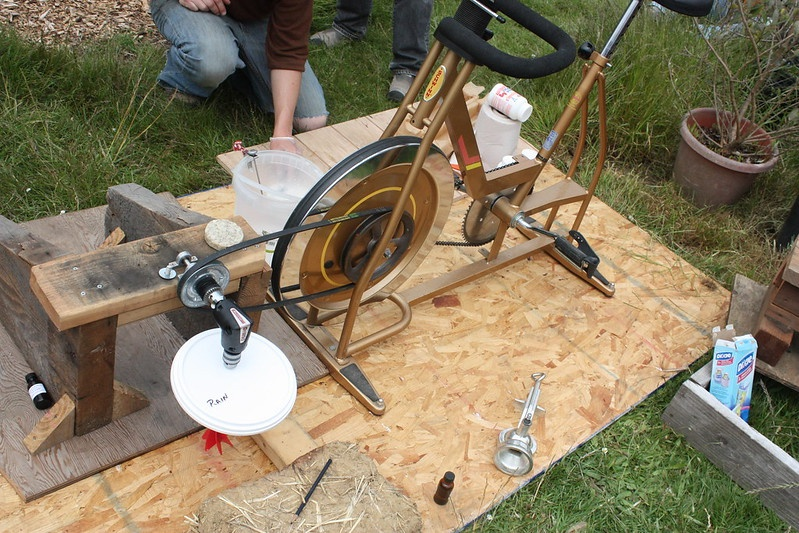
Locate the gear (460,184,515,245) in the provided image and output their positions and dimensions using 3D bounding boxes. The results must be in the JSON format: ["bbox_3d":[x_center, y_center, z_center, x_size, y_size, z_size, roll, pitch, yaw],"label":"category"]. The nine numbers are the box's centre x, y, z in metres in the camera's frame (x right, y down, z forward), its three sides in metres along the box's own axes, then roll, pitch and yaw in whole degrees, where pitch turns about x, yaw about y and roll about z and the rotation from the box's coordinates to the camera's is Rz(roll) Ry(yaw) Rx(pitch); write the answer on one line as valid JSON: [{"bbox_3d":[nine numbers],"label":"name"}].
[{"bbox_3d":[0.442,-0.257,3.147,0.300,0.321,0.079,-3,31,-16],"label":"gear"}]

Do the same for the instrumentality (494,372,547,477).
[{"bbox_3d":[0.557,0.692,2.885,0.147,0.203,0.488,12,45,11],"label":"instrumentality"}]

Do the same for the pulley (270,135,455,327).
[{"bbox_3d":[-0.166,-0.123,2.884,0.771,0.775,0.192,-25,48,-24],"label":"pulley"}]
